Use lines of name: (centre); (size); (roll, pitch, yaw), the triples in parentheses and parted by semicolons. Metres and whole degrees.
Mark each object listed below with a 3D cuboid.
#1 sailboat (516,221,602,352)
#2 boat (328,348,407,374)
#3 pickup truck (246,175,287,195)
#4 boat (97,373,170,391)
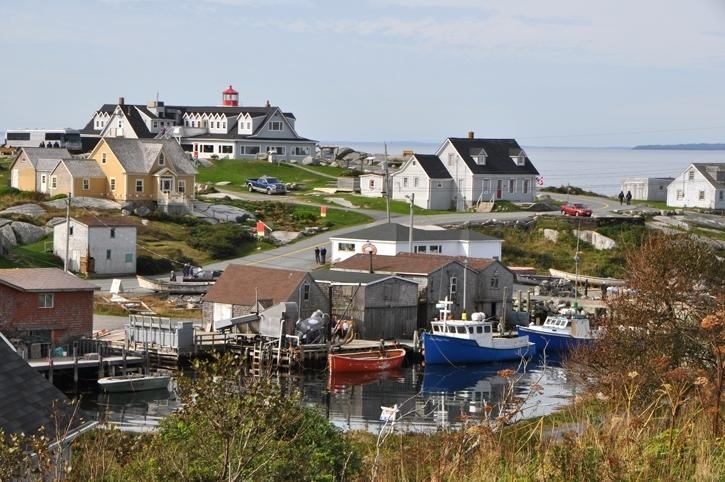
sailboat: (13.838, 3.321, 94.762); (8.830, 7.861, 4.087); (0, 3, -28)
boat: (0.158, 6.955, 79.186); (4.692, 1.287, 1.119); (-1, 1, -30)
pickup truck: (-8.928, -5.114, 121.425); (1.573, 1.318, 3.347); (-5, 7, -43)
boat: (-12.435, 7.600, 73.050); (3.130, 0.840, 1.390); (0, -4, -26)
